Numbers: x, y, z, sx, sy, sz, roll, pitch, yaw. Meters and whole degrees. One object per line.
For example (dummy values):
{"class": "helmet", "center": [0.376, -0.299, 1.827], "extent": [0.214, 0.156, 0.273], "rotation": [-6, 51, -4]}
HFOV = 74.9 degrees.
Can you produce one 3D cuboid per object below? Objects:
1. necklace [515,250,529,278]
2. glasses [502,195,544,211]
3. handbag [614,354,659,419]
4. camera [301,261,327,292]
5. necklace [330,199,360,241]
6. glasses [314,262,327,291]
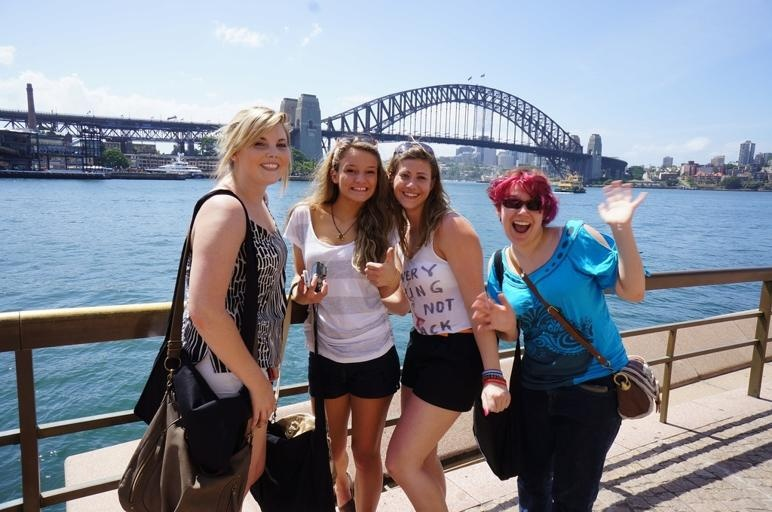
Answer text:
{"class": "necklace", "center": [0.765, 0.062, 2.821], "extent": [0.025, 0.141, 0.016], "rotation": [-35, -47, 18]}
{"class": "glasses", "center": [0.748, -0.279, 2.753], "extent": [0.202, 0.075, 0.041], "rotation": [3, 13, 14]}
{"class": "handbag", "center": [1.344, 0.656, 2.844], "extent": [0.252, 0.382, 0.396], "rotation": [-11, -2, 23]}
{"class": "camera", "center": [-0.381, 0.108, 2.809], "extent": [0.116, 0.173, 0.175], "rotation": [2, -10, -3]}
{"class": "necklace", "center": [-0.250, -0.205, 2.957], "extent": [0.113, 0.208, 0.207], "rotation": [6, 10, 2]}
{"class": "glasses", "center": [-0.359, 0.113, 2.797], "extent": [0.085, 0.138, 0.049], "rotation": [-12, -15, 26]}
